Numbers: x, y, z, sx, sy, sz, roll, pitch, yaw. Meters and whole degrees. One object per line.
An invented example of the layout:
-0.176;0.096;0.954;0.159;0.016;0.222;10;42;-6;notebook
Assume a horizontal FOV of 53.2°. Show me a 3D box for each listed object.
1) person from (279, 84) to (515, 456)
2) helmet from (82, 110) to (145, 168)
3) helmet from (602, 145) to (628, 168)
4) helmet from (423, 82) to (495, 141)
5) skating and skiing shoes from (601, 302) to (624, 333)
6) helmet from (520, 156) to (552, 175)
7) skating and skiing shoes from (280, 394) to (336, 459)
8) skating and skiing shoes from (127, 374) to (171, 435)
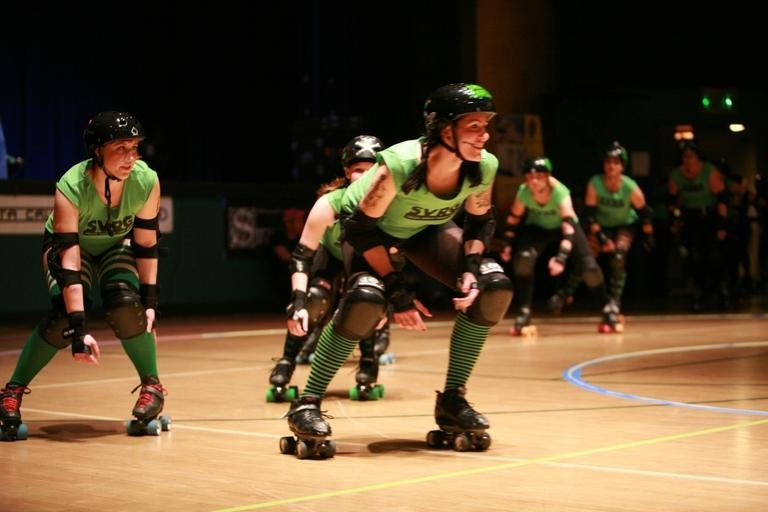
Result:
0.143;0.030;4.131;1.115;1.906;0.536;1;7;-8;person
-1.615;-0.721;4.564;0.371;0.276;0.287;5;13;14;helmet
2.695;-1.174;8.915;0.220;0.204;0.278;9;-4;6;helmet
0.387;-0.778;4.083;0.355;0.257;0.253;-4;13;18;helmet
2.618;0.701;8.747;0.273;0.354;0.175;1;-10;13;skating and skiing shoes
1.650;-1.034;8.421;0.240;0.136;0.235;0;-2;-44;helmet
-0.401;0.895;4.025;0.277;0.277;0.272;1;7;-10;skating and skiing shoes
-1.382;0.888;4.544;0.235;0.286;0.285;1;7;-4;skating and skiing shoes
